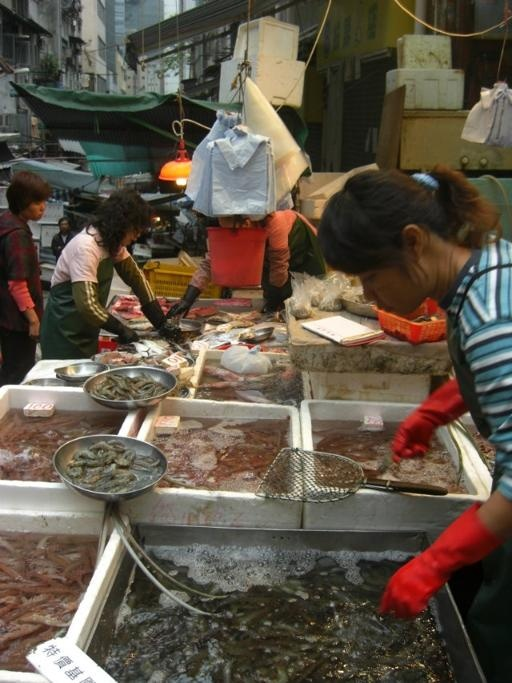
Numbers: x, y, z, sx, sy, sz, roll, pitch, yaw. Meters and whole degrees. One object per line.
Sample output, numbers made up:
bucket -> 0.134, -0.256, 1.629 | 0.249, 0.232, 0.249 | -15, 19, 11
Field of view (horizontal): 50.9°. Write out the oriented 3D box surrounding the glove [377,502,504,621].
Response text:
glove -> 0.393, 0.578, 1.372 | 0.142, 0.458, 0.125 | 42, 31, 4

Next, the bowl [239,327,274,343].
bowl -> -0.014, -0.072, 4.070 | 0.176, 0.049, 0.148 | 7, 27, 29

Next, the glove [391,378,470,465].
glove -> 0.709, 0.336, 2.176 | 0.139, 0.463, 0.119 | 44, 12, -15

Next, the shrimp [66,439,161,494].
shrimp -> -0.519, 0.449, 1.928 | 0.202, 0.043, 0.182 | 10, 21, 4

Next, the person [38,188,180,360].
person -> -1.153, -0.439, 4.117 | 0.862, 1.393, 0.659 | 2, 6, 10

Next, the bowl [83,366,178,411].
bowl -> -0.597, 0.229, 2.585 | 0.301, 0.117, 0.348 | -10, 16, -32

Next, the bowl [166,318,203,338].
bowl -> -0.544, -0.115, 4.267 | 0.194, 0.034, 0.174 | 8, 25, 9

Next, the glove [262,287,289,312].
glove -> 0.192, -0.426, 5.311 | 0.233, 0.277, 0.109 | 6, 8, 8

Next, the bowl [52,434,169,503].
bowl -> -0.525, 0.456, 1.934 | 0.400, 0.187, 0.507 | -2, 14, -6

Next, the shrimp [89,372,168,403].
shrimp -> -0.615, 0.170, 2.580 | 0.327, 0.116, 0.394 | -11, 15, -38
